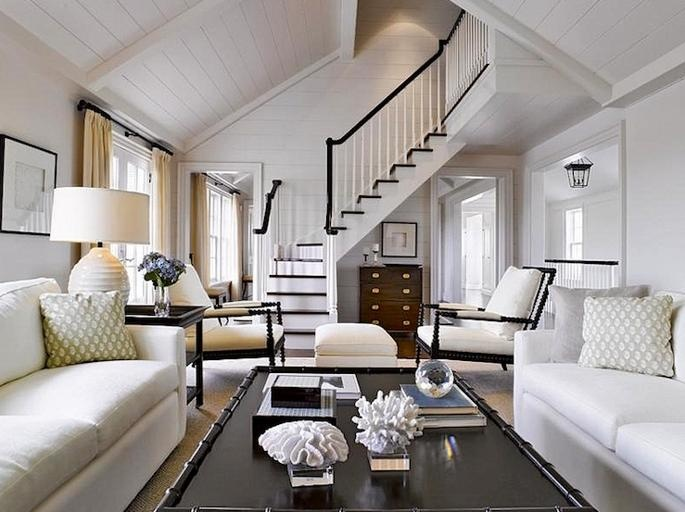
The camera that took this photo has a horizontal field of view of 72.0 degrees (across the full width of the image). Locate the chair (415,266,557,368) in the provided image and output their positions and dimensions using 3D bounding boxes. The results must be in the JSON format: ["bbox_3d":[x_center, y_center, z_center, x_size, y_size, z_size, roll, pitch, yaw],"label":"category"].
[{"bbox_3d":[1.282,0.557,4.483,1.138,1.252,0.910,0,-2,1],"label":"chair"}]

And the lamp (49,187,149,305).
[{"bbox_3d":[-1.831,-0.024,3.546,0.627,0.968,0.648,2,0,-30],"label":"lamp"}]

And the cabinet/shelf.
[{"bbox_3d":[0.639,0.550,6.612,1.052,1.462,0.728,0,-3,-1],"label":"cabinet/shelf"}]

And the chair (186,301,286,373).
[{"bbox_3d":[-0.988,0.680,4.228,0.887,0.780,0.795,-2,-1,4],"label":"chair"}]

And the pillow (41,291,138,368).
[{"bbox_3d":[-1.616,0.485,2.983,0.518,0.508,0.276,3,-12,-37],"label":"pillow"}]

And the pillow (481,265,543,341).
[{"bbox_3d":[1.602,0.444,4.203,0.283,0.524,0.524,0,-17,15],"label":"pillow"}]

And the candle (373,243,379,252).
[{"bbox_3d":[0.459,-0.121,6.354,0.091,0.119,0.095,-3,6,-26],"label":"candle"}]

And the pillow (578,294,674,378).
[{"bbox_3d":[1.830,0.490,3.075,0.515,0.553,0.195,1,12,36],"label":"pillow"}]

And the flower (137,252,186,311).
[{"bbox_3d":[-1.345,0.207,3.536,0.298,0.463,0.304,1,-8,-14],"label":"flower"}]

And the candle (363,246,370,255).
[{"bbox_3d":[0.320,-0.064,6.347,0.086,0.112,0.089,2,2,36],"label":"candle"}]

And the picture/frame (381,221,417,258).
[{"bbox_3d":[0.809,-0.265,6.671,0.442,0.492,0.036,0,1,-4],"label":"picture/frame"}]

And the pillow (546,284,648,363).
[{"bbox_3d":[1.710,0.461,3.132,0.400,0.415,0.151,-9,-28,39],"label":"pillow"}]
